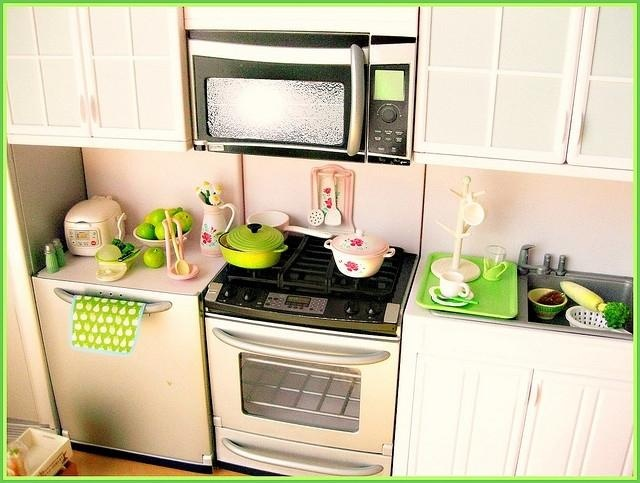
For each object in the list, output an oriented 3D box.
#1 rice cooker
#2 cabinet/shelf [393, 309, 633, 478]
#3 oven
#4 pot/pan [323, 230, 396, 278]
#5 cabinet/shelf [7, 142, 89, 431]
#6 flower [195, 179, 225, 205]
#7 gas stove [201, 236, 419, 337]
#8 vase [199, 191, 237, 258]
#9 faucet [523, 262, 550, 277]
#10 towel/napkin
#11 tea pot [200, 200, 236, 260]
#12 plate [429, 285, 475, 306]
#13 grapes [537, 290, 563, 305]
[{"bbox_3d":[-1.114,-0.087,2.399,0.262,0.236,0.310,0,22,-7],"label":"rice cooker"},{"bbox_3d":[0.826,0.479,2.243,0.878,0.705,0.679,2,19,10],"label":"cabinet/shelf"},{"bbox_3d":[-0.071,0.601,2.073,0.659,0.754,0.527,5,24,9],"label":"oven"},{"bbox_3d":[0.187,0.046,2.164,0.304,0.200,0.296,2,24,8],"label":"pot/pan"},{"bbox_3d":[-1.289,0.242,2.304,0.345,1.355,0.283,17,27,24],"label":"cabinet/shelf"},{"bbox_3d":[-0.534,-0.236,2.319,0.135,0.123,0.223,-3,19,-14],"label":"flower"},{"bbox_3d":[-0.023,0.175,2.147,0.841,0.208,0.524,5,18,12],"label":"gas stove"},{"bbox_3d":[-0.463,-0.070,2.313,0.160,0.342,0.134,12,29,21],"label":"vase"},{"bbox_3d":[0.969,0.128,2.168,0.122,0.030,0.043,2,23,11],"label":"faucet"},{"bbox_3d":[-0.911,0.355,2.033,0.306,0.197,0.110,6,19,13],"label":"towel/napkin"},{"bbox_3d":[-0.479,-0.047,2.328,0.155,0.300,0.134,10,28,18],"label":"tea pot"},{"bbox_3d":[0.508,0.225,1.911,0.104,0.020,0.084,16,24,27],"label":"plate"},{"bbox_3d":[0.996,0.246,2.070,0.066,0.028,0.064,-1,15,4],"label":"grapes"}]
